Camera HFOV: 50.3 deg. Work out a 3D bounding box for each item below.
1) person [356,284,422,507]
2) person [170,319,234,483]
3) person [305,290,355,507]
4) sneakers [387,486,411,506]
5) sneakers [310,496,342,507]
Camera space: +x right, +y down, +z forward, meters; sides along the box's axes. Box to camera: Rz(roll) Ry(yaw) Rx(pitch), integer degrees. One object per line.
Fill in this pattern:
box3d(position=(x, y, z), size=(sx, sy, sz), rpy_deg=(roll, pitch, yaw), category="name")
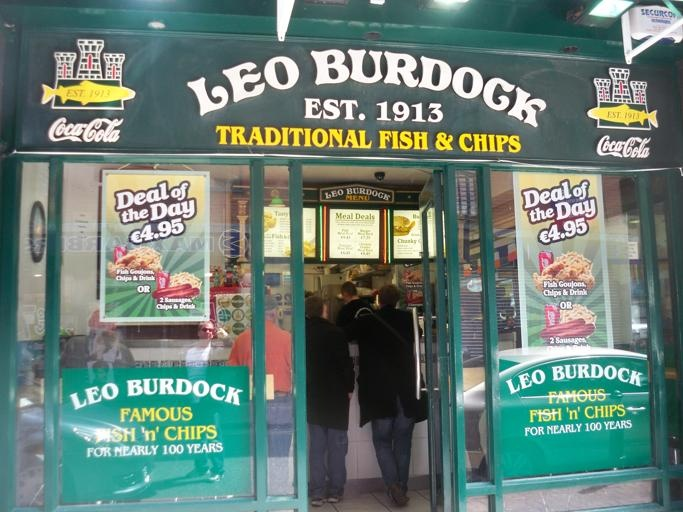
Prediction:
box3d(position=(0.431, 1.277, 6.355), size=(0.588, 1.695, 0.338), rpy_deg=(-2, -7, 4), category="person")
box3d(position=(-0.948, 1.007, 5.033), size=(0.246, 1.088, 0.097), rpy_deg=(-1, -7, -10), category="person")
box3d(position=(-0.100, 1.235, 6.373), size=(0.412, 1.761, 0.301), rpy_deg=(-2, -7, 0), category="person")
box3d(position=(0.486, 2.031, 6.161), size=(0.176, 0.158, 0.165), rpy_deg=(-2, -7, 1), category="sneakers")
box3d(position=(-0.130, 2.089, 6.180), size=(0.253, 0.102, 0.083), rpy_deg=(15, -18, -35), category="sneakers")
